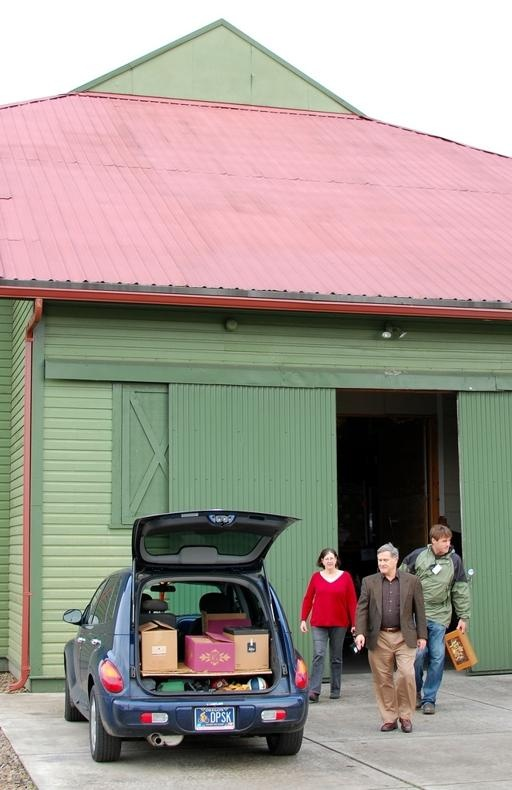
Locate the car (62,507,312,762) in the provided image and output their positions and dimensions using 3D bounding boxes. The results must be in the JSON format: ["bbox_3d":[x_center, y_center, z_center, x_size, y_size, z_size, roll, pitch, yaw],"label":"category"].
[{"bbox_3d":[-0.499,1.551,6.539,1.164,1.217,2.169,2,-3,-10],"label":"car"}]

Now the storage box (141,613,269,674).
[{"bbox_3d":[-0.341,1.680,6.273,0.840,0.346,0.712,-2,-8,-8],"label":"storage box"}]

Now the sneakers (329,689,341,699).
[{"bbox_3d":[0.764,2.884,9.044,0.056,0.066,0.163,6,-19,2],"label":"sneakers"}]

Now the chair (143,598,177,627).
[{"bbox_3d":[-0.661,1.511,6.506,0.205,0.205,0.155,5,-17,-17],"label":"chair"}]

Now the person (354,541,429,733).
[{"bbox_3d":[1.044,1.880,7.266,0.546,1.416,0.431,-4,-8,9],"label":"person"}]

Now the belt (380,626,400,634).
[{"bbox_3d":[1.040,1.800,7.258,0.142,0.079,0.027,-4,-8,7],"label":"belt"}]

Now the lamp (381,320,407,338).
[{"bbox_3d":[1.582,-0.730,10.783,0.347,0.209,0.125,2,-9,-32],"label":"lamp"}]

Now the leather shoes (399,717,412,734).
[{"bbox_3d":[1.147,2.523,7.186,0.088,0.110,0.233,-4,-8,9],"label":"leather shoes"}]

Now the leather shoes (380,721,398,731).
[{"bbox_3d":[1.042,2.567,7.258,0.057,0.084,0.183,-8,-19,33],"label":"leather shoes"}]
